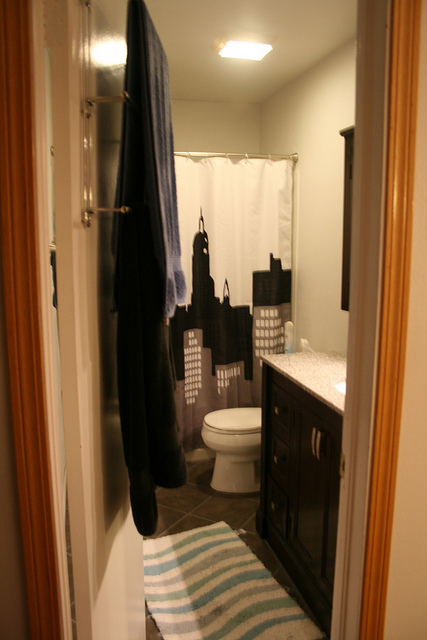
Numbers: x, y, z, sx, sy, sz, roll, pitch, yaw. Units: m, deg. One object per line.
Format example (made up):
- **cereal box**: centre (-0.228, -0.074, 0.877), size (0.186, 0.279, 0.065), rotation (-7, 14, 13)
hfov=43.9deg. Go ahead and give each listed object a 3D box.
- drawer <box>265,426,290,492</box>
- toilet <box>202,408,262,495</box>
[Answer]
- **drawer**: centre (0.257, 0.562, 2.135), size (0.098, 0.193, 0.228), rotation (0, 4, -4)
- **toilet**: centre (0.110, 0.638, 2.752), size (0.337, 0.410, 0.381), rotation (11, 24, 31)
